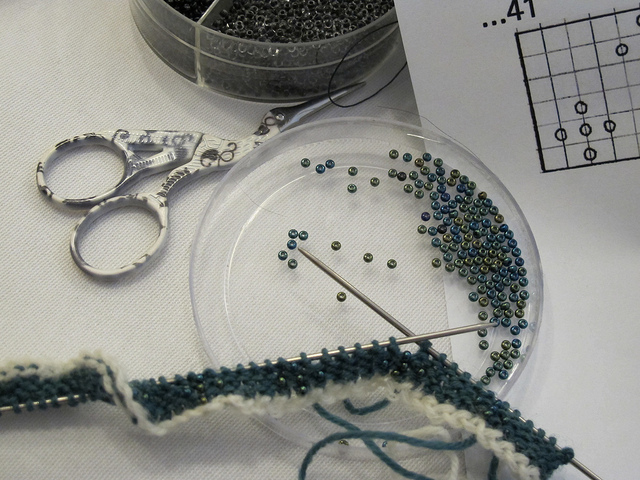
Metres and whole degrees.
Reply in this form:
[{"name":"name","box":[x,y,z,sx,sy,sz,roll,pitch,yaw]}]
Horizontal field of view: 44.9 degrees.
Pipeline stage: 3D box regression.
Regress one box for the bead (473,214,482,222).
[{"name":"bead","box":[0.342,-0.047,1.693,0.014,0.009,0.015,-5,-100,4]}]

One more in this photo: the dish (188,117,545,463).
[{"name":"dish","box":[0.118,0.051,1.675,0.716,0.097,0.735,-4,-100,-3]}]

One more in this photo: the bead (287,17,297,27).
[{"name":"bead","box":[-0.063,-0.487,1.749,0.021,0.012,0.022,0,-116,6]}]

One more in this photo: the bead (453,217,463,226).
[{"name":"bead","box":[0.297,-0.039,1.694,0.014,0.006,0.015,-8,-105,6]}]

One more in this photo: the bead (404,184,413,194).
[{"name":"bead","box":[0.196,-0.113,1.730,0.017,0.010,0.017,0,-97,1]}]

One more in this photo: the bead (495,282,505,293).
[{"name":"bead","box":[0.380,0.100,1.659,0.023,0.011,0.020,4,-70,-8]}]

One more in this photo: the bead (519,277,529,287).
[{"name":"bead","box":[0.431,0.090,1.663,0.018,0.009,0.019,-1,-90,-13]}]

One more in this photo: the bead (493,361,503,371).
[{"name":"bead","box":[0.368,0.261,1.615,0.017,0.009,0.017,-14,-102,-3]}]

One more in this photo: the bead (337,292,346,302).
[{"name":"bead","box":[0.044,0.121,1.655,0.016,0.016,0.017,4,-113,10]}]

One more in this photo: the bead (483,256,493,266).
[{"name":"bead","box":[0.357,0.047,1.670,0.021,0.013,0.015,-18,-68,1]}]

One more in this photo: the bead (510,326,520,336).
[{"name":"bead","box":[0.408,0.192,1.640,0.019,0.009,0.021,-13,-68,-1]}]

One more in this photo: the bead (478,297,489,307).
[{"name":"bead","box":[0.345,0.132,1.657,0.016,0.009,0.017,-2,-98,-8]}]

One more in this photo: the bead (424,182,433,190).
[{"name":"bead","box":[0.239,-0.118,1.729,0.015,0.010,0.016,-1,-108,2]}]

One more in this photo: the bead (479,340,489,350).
[{"name":"bead","box":[0.342,0.220,1.635,0.022,0.016,0.016,1,-69,-6]}]

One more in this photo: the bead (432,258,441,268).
[{"name":"bead","box":[0.249,0.050,1.678,0.017,0.011,0.017,1,-86,-33]}]

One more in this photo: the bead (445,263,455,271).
[{"name":"bead","box":[0.279,0.058,1.677,0.019,0.014,0.015,-4,-68,-5]}]

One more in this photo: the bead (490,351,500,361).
[{"name":"bead","box":[0.362,0.243,1.625,0.018,0.012,0.015,-1,-69,-6]}]

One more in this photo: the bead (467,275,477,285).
[{"name":"bead","box":[0.323,0.086,1.667,0.019,0.011,0.020,5,-93,-7]}]

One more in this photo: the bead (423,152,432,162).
[{"name":"bead","box":[0.237,-0.183,1.738,0.015,0.009,0.016,-2,-93,-5]}]

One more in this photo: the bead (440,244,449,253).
[{"name":"bead","box":[0.267,0.018,1.685,0.016,0.010,0.017,-2,-89,5]}]

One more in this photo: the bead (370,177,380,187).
[{"name":"bead","box":[0.120,-0.128,1.739,0.016,0.010,0.017,-2,-99,4]}]

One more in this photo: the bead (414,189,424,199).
[{"name":"bead","box":[0.216,-0.100,1.720,0.015,0.009,0.016,7,-97,8]}]

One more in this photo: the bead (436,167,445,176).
[{"name":"bead","box":[0.265,-0.150,1.729,0.016,0.009,0.017,-2,-103,8]}]

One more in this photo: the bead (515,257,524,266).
[{"name":"bead","box":[0.427,0.047,1.675,0.020,0.014,0.014,6,-70,-8]}]

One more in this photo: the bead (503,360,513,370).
[{"name":"bead","box":[0.388,0.259,1.619,0.022,0.009,0.019,23,-73,-14]}]

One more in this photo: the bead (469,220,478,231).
[{"name":"bead","box":[0.332,-0.030,1.696,0.018,0.017,0.018,45,-105,-18]}]

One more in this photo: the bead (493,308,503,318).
[{"name":"bead","box":[0.372,0.154,1.645,0.016,0.010,0.017,-5,-104,-7]}]

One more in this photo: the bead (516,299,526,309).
[{"name":"bead","box":[0.422,0.135,1.647,0.018,0.010,0.018,-9,-79,-7]}]

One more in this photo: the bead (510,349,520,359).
[{"name":"bead","box":[0.403,0.238,1.621,0.021,0.009,0.021,-8,-68,-3]}]

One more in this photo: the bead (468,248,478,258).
[{"name":"bead","box":[0.328,0.028,1.682,0.020,0.015,0.016,-10,-68,-2]}]

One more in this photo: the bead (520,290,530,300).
[{"name":"bead","box":[0.430,0.116,1.650,0.016,0.010,0.017,2,-92,-1]}]

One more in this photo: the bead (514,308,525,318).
[{"name":"bead","box":[0.419,0.155,1.649,0.020,0.010,0.020,-32,-69,6]}]
